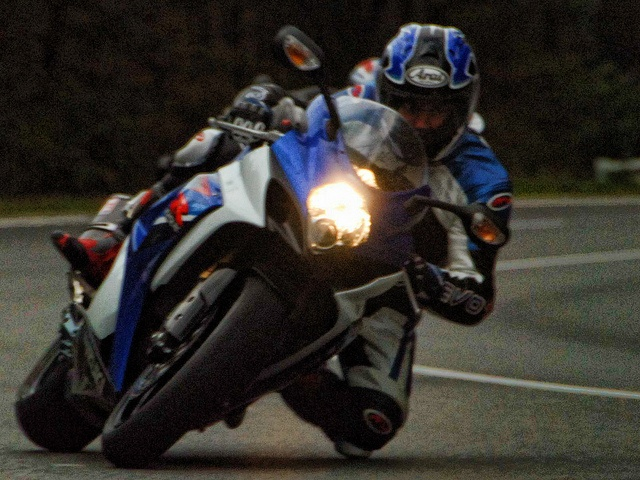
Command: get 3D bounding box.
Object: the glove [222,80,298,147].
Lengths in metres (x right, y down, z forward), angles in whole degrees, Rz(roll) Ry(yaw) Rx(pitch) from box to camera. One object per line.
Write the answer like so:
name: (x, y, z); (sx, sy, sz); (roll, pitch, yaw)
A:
glove: (-0.321, -0.673, 4.527); (0.260, 0.195, 0.425); (13, 16, 0)
